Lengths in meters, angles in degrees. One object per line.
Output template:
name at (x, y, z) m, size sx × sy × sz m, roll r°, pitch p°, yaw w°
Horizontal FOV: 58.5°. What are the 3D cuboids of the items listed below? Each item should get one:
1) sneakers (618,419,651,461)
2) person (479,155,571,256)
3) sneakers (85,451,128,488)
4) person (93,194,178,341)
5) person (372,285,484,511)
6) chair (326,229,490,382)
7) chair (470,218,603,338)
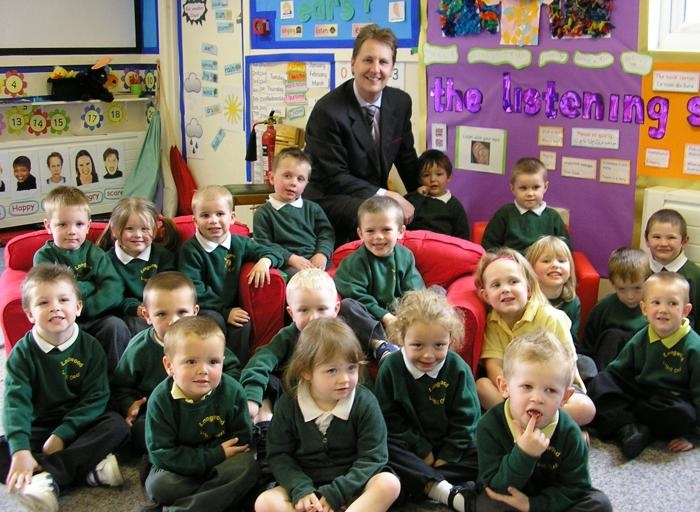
sneakers at (1.254, 0.811, 2.802) m, size 0.209 × 0.076 × 0.088 m, roll -36°, pitch -8°, yaw -29°
person at (1.003, -0.262, 3.916) m, size 0.674 × 0.814 × 0.516 m, roll 0°, pitch 5°, yaw 8°
sneakers at (-1.015, 0.896, 2.607) m, size 0.150 × 0.129 × 0.130 m, roll -8°, pitch 14°, yaw -34°
person at (-1.176, 0.044, 3.141) m, size 0.421 × 0.724 × 0.704 m, roll -4°, pitch 19°, yaw -21°
person at (0.325, 0.523, 2.570) m, size 0.569 × 0.828 × 0.749 m, roll -2°, pitch 21°, yaw -1°
chair at (0.371, 0.102, 3.211) m, size 0.753 × 0.568 × 0.713 m, roll 1°, pitch 39°, yaw 13°
chair at (1.094, 0.049, 3.720) m, size 0.692 × 0.767 × 0.733 m, roll 2°, pitch 19°, yaw 8°
